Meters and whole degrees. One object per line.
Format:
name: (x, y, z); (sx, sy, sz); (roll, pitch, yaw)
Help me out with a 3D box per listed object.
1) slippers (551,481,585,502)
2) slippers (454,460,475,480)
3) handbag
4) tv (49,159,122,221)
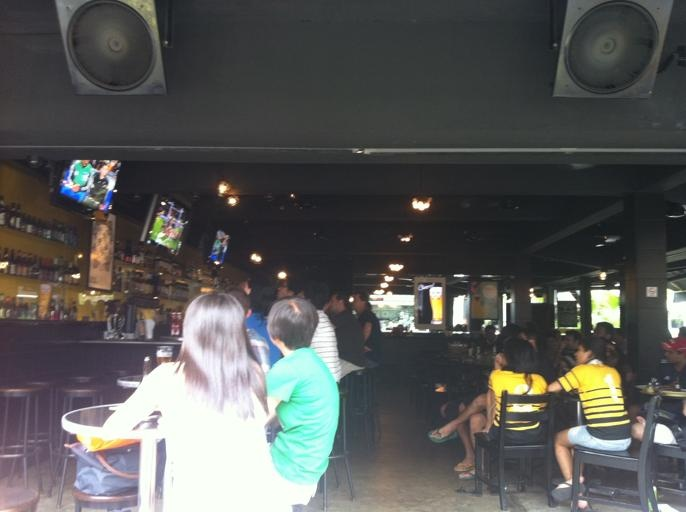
slippers: (1.995, 2.086, 4.689); (0.319, 0.170, 0.117); (0, 20, 15)
slippers: (1.292, 2.261, 5.515); (0.143, 0.090, 0.260); (-2, -14, 17)
handbag: (-1.446, 1.303, 3.189); (0.399, 0.167, 0.459); (1, -6, -9)
tv: (-3.086, -0.777, 6.107); (0.118, 0.619, 0.861); (6, -1, 16)
